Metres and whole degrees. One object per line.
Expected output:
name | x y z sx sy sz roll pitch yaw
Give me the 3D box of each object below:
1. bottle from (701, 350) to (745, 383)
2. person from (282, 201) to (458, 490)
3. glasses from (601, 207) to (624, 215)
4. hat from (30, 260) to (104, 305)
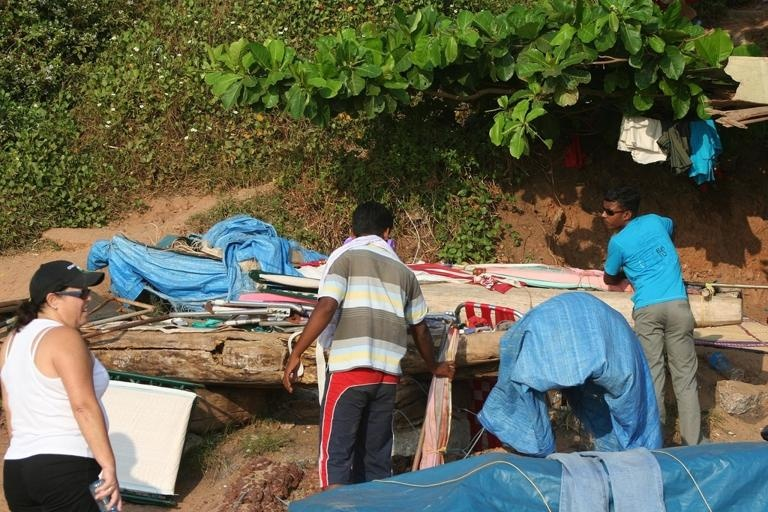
bottle | 4.669 1.495 11.810 0.504 0.338 0.231 5 13 35
person | -0.233 0.979 9.308 1.370 3.001 0.697 -9 13 -31
glasses | 2.810 -0.555 10.454 0.174 0.052 0.150 3 5 -11
hat | -3.135 0.208 8.470 0.630 0.327 0.403 -13 6 -11
